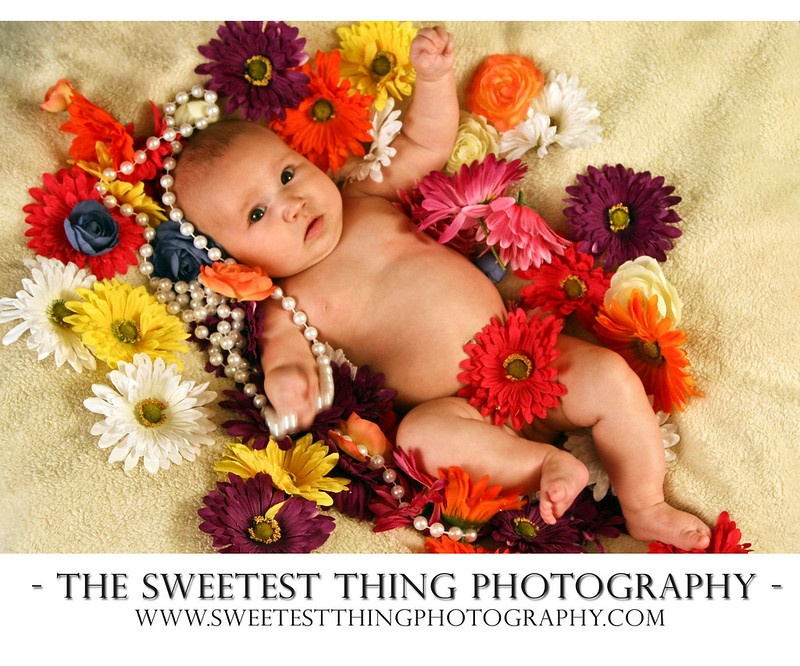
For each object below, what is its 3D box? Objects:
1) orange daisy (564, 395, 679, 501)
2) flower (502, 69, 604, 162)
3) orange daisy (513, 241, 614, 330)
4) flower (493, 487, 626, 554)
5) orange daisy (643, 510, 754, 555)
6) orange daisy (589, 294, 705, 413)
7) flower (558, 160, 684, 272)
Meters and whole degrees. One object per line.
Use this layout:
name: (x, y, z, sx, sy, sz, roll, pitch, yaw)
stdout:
orange daisy: (0.398, 0.219, 1.652, 0.181, 0.059, 0.157, 4, 91, 1)
flower: (0.310, -0.440, 1.803, 0.148, 0.160, 0.050, -11, 81, 30)
orange daisy: (0.331, -0.116, 1.723, 0.175, 0.202, 0.052, 27, 81, -25)
flower: (0.270, 0.328, 1.528, 0.139, 0.129, 0.032, 5, 118, 7)
orange daisy: (0.516, 0.362, 1.531, 0.161, 0.142, 0.055, 5, 88, 19)
orange daisy: (0.443, 0.022, 1.569, 0.053, 0.244, 0.215, -43, 57, 29)
flower: (0.428, -0.249, 1.742, 0.206, 0.185, 0.054, 16, 67, 2)
